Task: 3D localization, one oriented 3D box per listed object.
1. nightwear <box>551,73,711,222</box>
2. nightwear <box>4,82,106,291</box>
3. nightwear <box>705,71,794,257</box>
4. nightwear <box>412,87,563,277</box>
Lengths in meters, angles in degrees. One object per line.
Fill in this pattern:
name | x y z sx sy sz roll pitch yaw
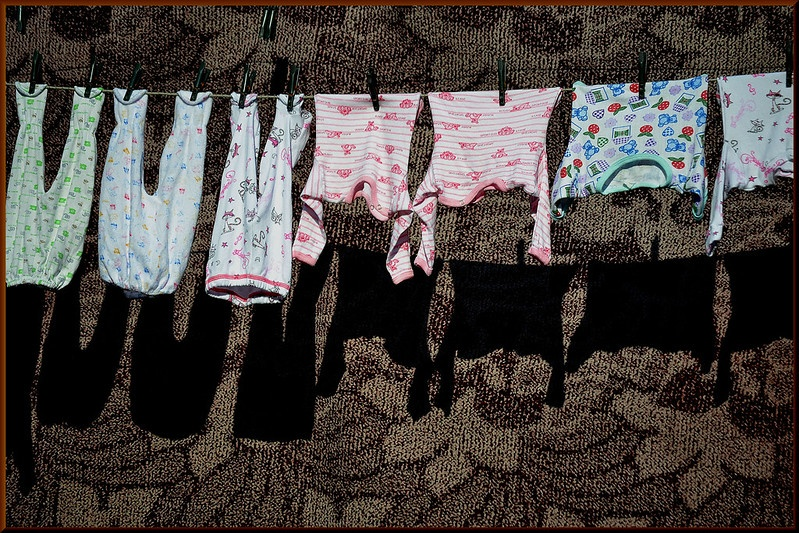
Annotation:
nightwear | 0.962 -0.538 3.631 0.605 0.116 0.516 2 82 2
nightwear | -1.528 -0.317 3.776 0.451 0.102 0.875 4 83 -2
nightwear | 1.498 -0.444 3.752 0.566 0.188 0.659 -1 85 7
nightwear | 0.398 -0.361 3.764 0.909 0.331 1.054 -1 89 9
